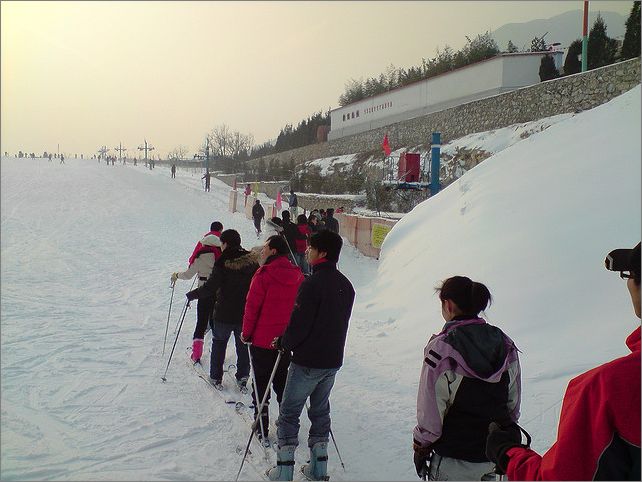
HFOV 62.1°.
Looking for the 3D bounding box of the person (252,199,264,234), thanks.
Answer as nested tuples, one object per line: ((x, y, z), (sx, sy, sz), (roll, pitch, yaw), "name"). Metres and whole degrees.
((-2.655, -0.992, 22.524), (0.419, 1.544, 1.472), (0, 10, -7), "person")

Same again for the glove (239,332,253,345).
((-1.058, 1.349, 7.389), (0.141, 0.075, 0.187), (29, 0, -44), "glove")

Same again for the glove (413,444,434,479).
((1.057, 2.317, 5.591), (0.222, 0.362, 0.118), (14, 1, 33), "glove")

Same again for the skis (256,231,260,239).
((-2.643, -0.268, 22.371), (0.103, 0.279, 0.148), (0, -19, -6), "skis")

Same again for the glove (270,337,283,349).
((-0.582, 1.320, 6.882), (0.140, 0.190, 0.196), (-4, 2, 3), "glove")

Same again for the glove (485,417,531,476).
((1.693, 1.852, 4.945), (0.262, 0.574, 0.387), (-19, -38, 38), "glove")
